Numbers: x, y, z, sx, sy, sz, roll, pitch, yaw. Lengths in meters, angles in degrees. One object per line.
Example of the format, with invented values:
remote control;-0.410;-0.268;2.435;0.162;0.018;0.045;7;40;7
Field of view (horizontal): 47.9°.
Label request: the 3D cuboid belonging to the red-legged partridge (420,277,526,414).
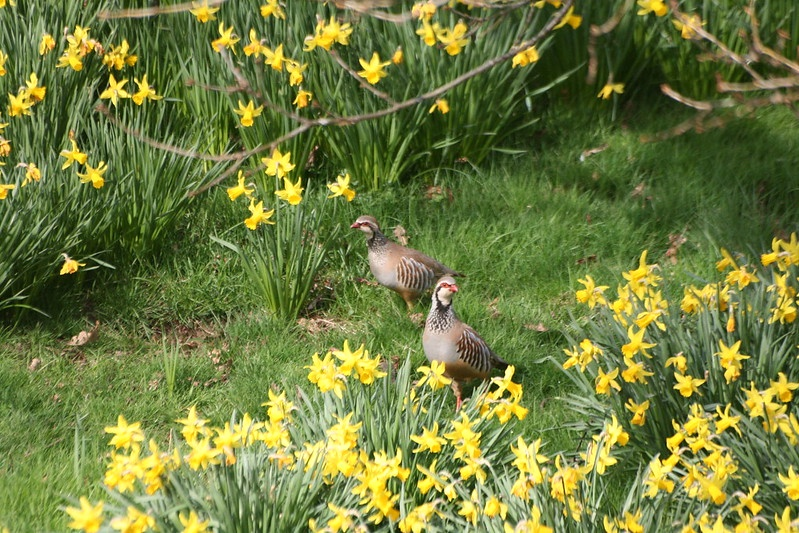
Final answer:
red-legged partridge;0.335;0.515;5.966;0.322;0.849;0.967;6;-5;14
